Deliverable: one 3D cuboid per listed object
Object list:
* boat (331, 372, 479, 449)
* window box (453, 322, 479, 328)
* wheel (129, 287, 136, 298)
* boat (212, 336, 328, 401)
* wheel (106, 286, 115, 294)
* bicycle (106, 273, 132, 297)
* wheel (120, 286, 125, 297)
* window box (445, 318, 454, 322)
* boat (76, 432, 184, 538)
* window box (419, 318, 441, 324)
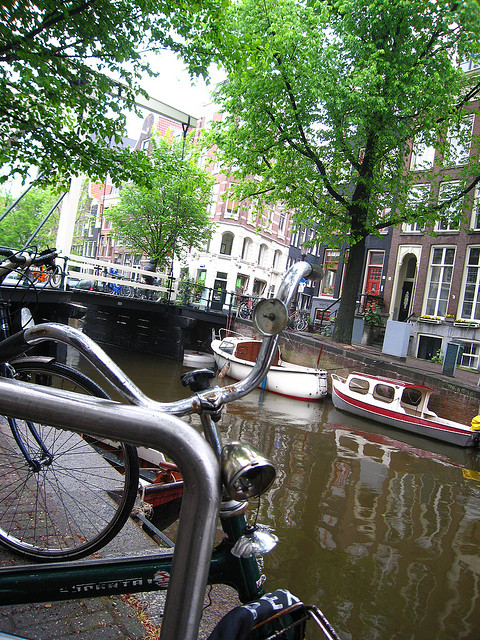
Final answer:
[{"bbox_3d":[3.999,2.237,12.567,4.530,1.275,1.176,15,-5,36],"label":"boat"},{"bbox_3d":[8.633,0.184,17.750,0.124,0.174,1.095,11,-1,-26],"label":"window box"},{"bbox_3d":[-4.262,-1.084,18.458,0.097,0.301,0.221,12,-4,31],"label":"wheel"},{"bbox_3d":[0.721,1.604,16.079,1.732,1.394,4.829,8,4,-43],"label":"boat"},{"bbox_3d":[-5.275,-1.224,18.819,0.281,0.133,0.371,15,9,-26],"label":"wheel"},{"bbox_3d":[-4.866,-1.379,18.848,1.113,0.661,0.685,9,2,42],"label":"bicycle"},{"bbox_3d":[-4.759,-1.161,18.703,0.084,0.329,0.337,-2,-27,-9],"label":"wheel"},{"bbox_3d":[8.326,-0.030,18.464,0.211,0.111,0.142,7,-5,23],"label":"window box"},{"bbox_3d":[-0.609,0.986,3.023,0.749,0.259,0.229,19,20,12],"label":"boat"},{"bbox_3d":[7.810,0.028,18.994,0.078,0.207,0.964,11,-2,-34],"label":"window box"}]
